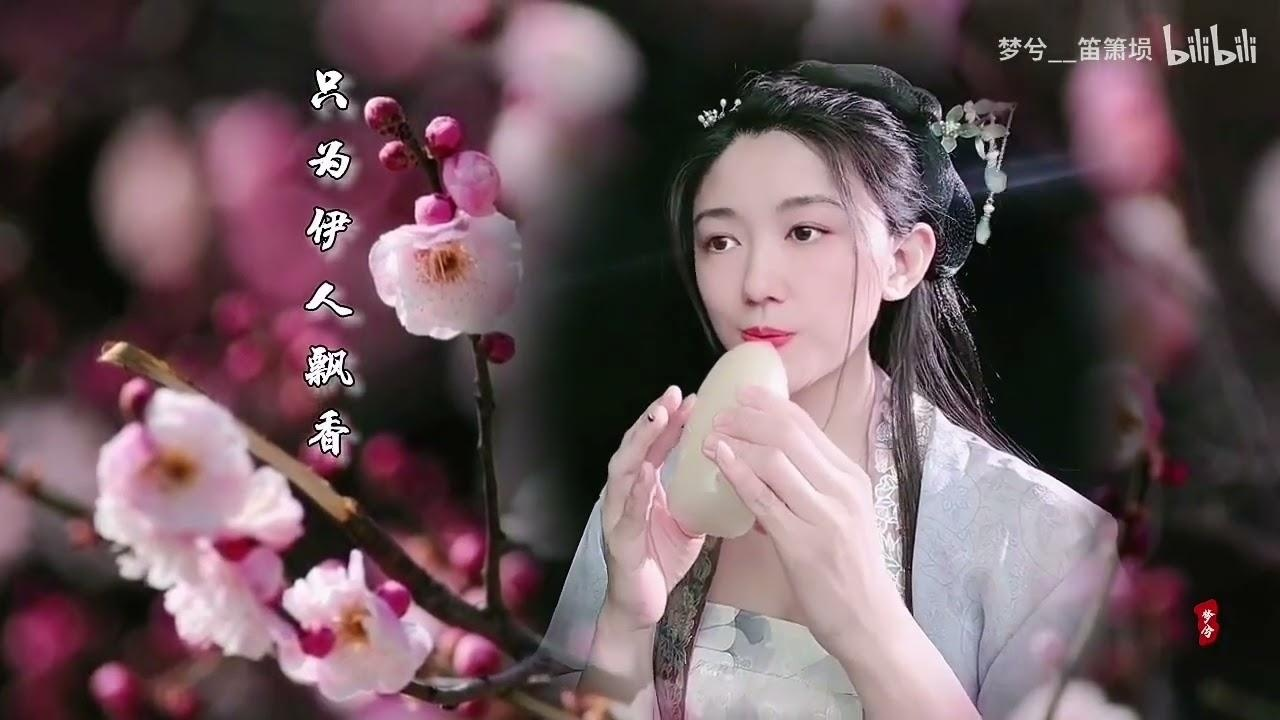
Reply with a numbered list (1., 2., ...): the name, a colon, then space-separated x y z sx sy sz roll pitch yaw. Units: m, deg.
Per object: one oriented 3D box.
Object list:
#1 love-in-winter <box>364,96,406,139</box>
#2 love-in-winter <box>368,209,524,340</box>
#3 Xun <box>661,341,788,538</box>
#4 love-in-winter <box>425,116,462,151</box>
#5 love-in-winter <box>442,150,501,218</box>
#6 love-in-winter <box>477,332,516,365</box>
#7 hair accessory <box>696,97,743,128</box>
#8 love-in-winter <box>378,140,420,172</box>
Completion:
1. love-in-winter: -0.794 -0.768 3.662 0.122 0.126 0.084 -3 7 2
2. love-in-winter: -0.624 -0.277 3.781 0.480 0.408 0.143 -5 8 -13
3. Xun: 0.270 0.267 3.608 0.383 0.614 0.217 -3 7 1
4. love-in-winter: -0.620 -0.718 3.695 0.112 0.110 0.062 -4 7 -9
5. love-in-winter: -0.530 -0.562 3.689 0.164 0.208 0.120 -15 -1 -9
6. love-in-winter: -0.477 -0.041 3.877 0.105 0.081 0.088 1 -6 12
7. hair accessory: 0.282 -0.873 4.020 0.145 0.098 0.059 -36 -6 -6
8. love-in-winter: -0.784 -0.659 3.717 0.123 0.099 0.074 11 47 11
